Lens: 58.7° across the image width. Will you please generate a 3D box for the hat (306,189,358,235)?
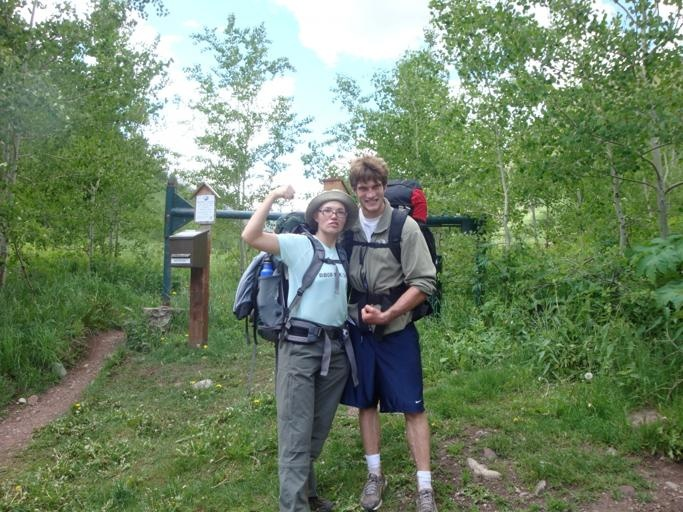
[{"bbox_3d":[-0.106,-0.432,6.218,0.575,0.644,0.164,-1,16,-3],"label":"hat"}]
